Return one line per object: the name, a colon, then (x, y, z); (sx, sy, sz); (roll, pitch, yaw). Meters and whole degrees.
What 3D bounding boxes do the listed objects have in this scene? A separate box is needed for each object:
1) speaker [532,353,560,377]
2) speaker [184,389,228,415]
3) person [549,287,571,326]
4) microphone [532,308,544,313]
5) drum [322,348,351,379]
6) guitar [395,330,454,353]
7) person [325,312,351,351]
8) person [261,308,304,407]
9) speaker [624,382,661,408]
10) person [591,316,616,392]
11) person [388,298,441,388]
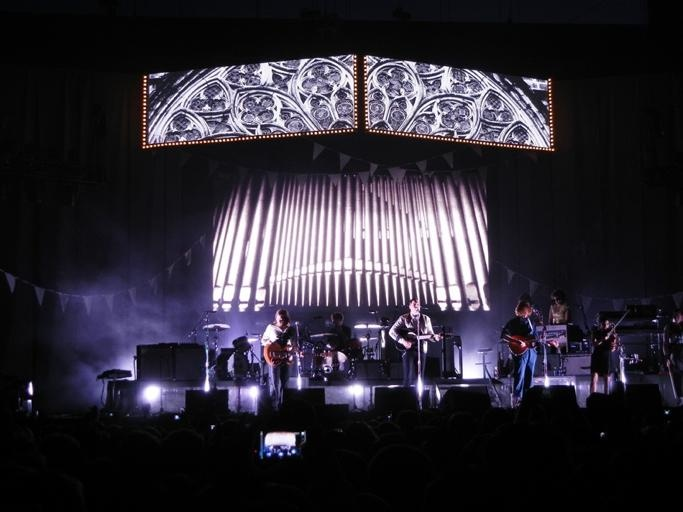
speaker: (3.627, 1.914, 14.194); (0.414, 0.411, 0.106); (-2, -8, 4)
speaker: (-1.932, 2.124, 11.770); (0.472, 0.318, 0.262); (0, -12, 1)
person: (3.932, 0.947, 14.755); (0.362, 0.679, 0.783); (-4, -11, 15)
microphone: (3.751, 1.075, 15.652); (0.174, 0.064, 0.189); (2, -3, 6)
drum: (-0.093, 1.912, 14.255); (0.539, 0.519, 0.206); (-3, -10, 9)
guitar: (1.356, 1.326, 13.395); (0.882, 0.134, 0.371); (-1, -52, 37)
person: (-0.012, 1.374, 14.755); (0.372, 0.732, 0.655); (-1, -10, -1)
person: (-1.000, 1.576, 13.272); (0.646, 1.702, 0.192); (1, 0, -5)
speaker: (3.857, 1.820, 10.446); (0.442, 0.319, 0.247); (1, -17, 10)
person: (4.322, 1.612, 13.508); (0.457, 1.284, 0.805); (-4, -11, 18)
person: (1.216, 1.422, 13.575); (0.674, 1.591, 0.220); (0, 7, 4)
